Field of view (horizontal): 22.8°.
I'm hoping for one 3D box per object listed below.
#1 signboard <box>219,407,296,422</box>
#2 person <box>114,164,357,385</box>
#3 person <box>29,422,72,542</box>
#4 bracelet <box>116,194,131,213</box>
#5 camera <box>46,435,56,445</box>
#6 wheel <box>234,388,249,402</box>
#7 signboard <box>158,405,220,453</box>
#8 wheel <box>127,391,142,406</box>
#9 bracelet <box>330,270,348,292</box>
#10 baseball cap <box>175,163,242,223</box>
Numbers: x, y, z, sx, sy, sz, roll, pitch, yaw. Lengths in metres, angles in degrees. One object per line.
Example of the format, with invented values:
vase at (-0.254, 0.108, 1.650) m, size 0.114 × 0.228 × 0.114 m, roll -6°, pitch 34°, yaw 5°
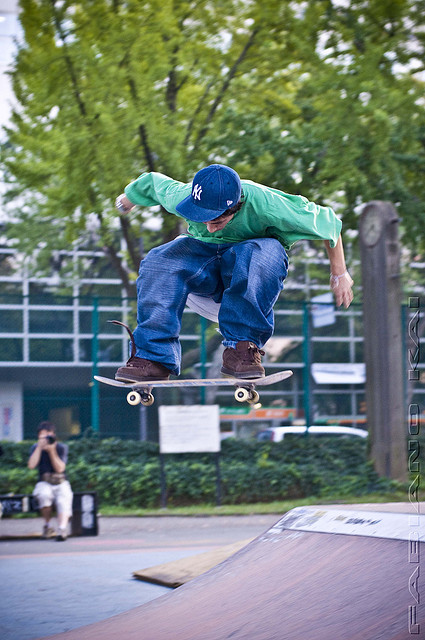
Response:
signboard at (0.501, 0.984, 11.153) m, size 0.914 × 0.173 × 0.178 m, roll 0°, pitch -8°, yaw -18°
person at (-0.016, -0.293, 6.392) m, size 1.671 × 1.180 × 0.944 m, roll 2°, pitch -1°, yaw 12°
person at (-1.058, 1.044, 6.846) m, size 0.256 × 0.762 × 0.192 m, roll -2°, pitch -8°, yaw -12°
bracelet at (-0.558, -0.738, 6.607) m, size 0.088 × 0.108 × 0.093 m, roll -7°, pitch -8°, yaw 25°
camera at (-1.047, 0.770, 6.816) m, size 0.052 × 0.050 × 0.051 m, roll -5°, pitch -4°, yaw -18°
wheel at (0.177, 0.437, 6.274) m, size 0.079 × 0.077 × 0.154 m, roll -3°, pitch -7°, yaw 1°
signboard at (-0.228, 0.863, 8.423) m, size 0.619 × 0.399 × 0.060 m, roll 6°, pitch -12°, yaw -43°
wheel at (-0.468, 0.459, 6.317) m, size 0.086 × 0.076 × 0.188 m, roll -3°, pitch -7°, yaw -4°
bracelet at (0.764, -0.249, 6.354) m, size 0.062 × 0.107 × 0.087 m, roll -1°, pitch 2°, yaw 14°
baseball cap at (-0.022, -0.765, 6.056) m, size 0.300 × 0.227 × 0.420 m, roll 28°, pitch 50°, yaw 28°
